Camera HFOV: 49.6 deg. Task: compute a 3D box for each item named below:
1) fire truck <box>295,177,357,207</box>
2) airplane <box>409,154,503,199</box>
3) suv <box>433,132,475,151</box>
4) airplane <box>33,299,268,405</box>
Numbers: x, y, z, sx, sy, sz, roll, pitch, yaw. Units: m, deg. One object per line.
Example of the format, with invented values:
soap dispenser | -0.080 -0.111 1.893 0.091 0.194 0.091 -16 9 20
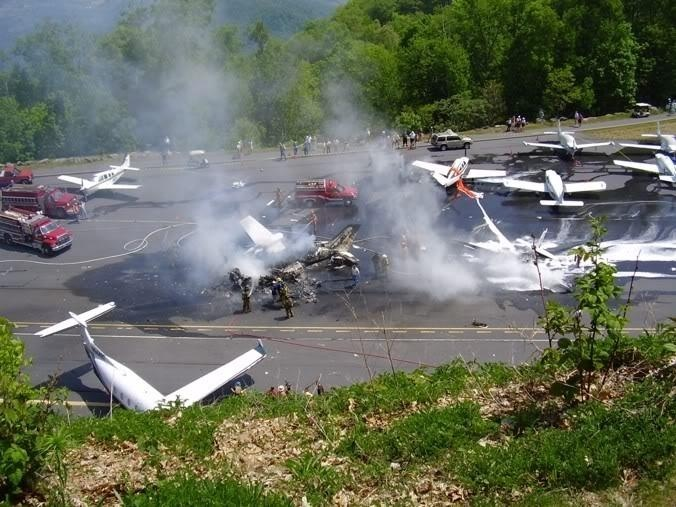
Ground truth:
fire truck | -1.312 -5.331 65.608 5.060 2.483 0.871 -4 12 13
airplane | 11.335 -7.128 68.575 8.828 3.407 9.319 -5 12 10
suv | 12.182 -11.815 79.001 3.369 1.534 1.983 -3 30 3
airplane | -11.586 6.443 44.915 12.039 5.433 7.052 -1 13 27
